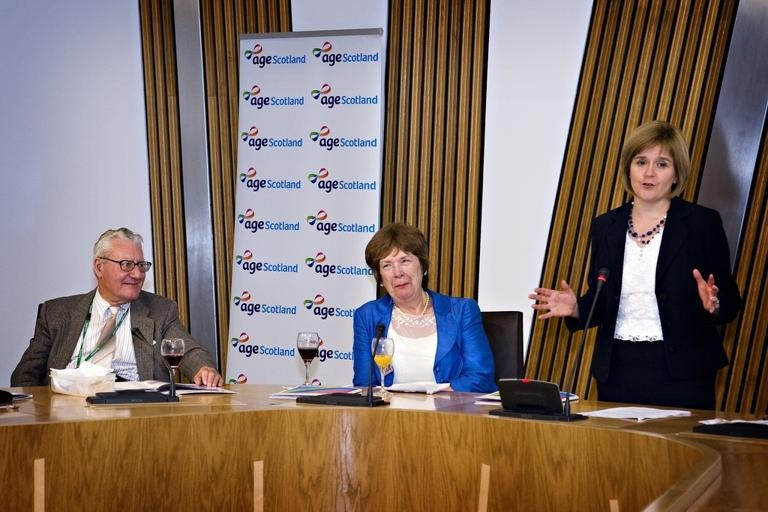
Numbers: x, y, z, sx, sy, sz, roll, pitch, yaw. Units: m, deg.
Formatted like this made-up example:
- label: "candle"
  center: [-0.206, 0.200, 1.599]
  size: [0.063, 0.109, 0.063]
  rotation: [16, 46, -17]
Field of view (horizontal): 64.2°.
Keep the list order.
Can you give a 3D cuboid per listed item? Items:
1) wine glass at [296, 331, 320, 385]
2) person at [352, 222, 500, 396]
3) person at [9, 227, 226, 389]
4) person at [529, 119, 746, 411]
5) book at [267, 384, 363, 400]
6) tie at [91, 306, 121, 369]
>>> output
- label: "wine glass"
  center: [-0.382, 0.518, 3.101]
  size: [0.099, 0.275, 0.359]
  rotation: [0, -3, -7]
- label: "person"
  center: [0.164, 0.353, 3.326]
  size: [0.747, 1.188, 0.830]
  rotation: [-4, -22, -2]
- label: "person"
  center: [-1.747, 0.337, 4.183]
  size: [0.782, 0.846, 1.331]
  rotation: [10, 36, -31]
- label: "person"
  center: [1.296, 0.030, 3.001]
  size: [0.801, 1.391, 0.287]
  rotation: [-1, -1, 13]
- label: "book"
  center: [-0.324, 0.637, 2.908]
  size: [0.419, 0.026, 0.393]
  rotation: [0, -3, -11]
- label: "tie"
  center: [-1.572, 0.449, 3.445]
  size: [0.113, 0.330, 0.154]
  rotation: [-1, -2, 5]
